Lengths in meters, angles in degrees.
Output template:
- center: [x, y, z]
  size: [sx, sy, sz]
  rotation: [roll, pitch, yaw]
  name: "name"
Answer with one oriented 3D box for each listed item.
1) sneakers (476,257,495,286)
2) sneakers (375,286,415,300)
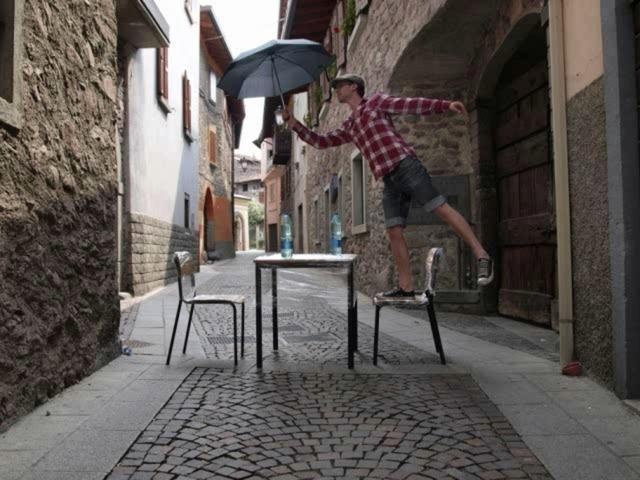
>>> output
- center: [1.366, 0.254, 3.955]
  size: [0.110, 0.221, 0.241]
  rotation: [0, 1, 17]
  name: "sneakers"
- center: [0.676, 0.480, 4.215]
  size: [0.236, 0.097, 0.140]
  rotation: [2, -8, 1]
  name: "sneakers"
